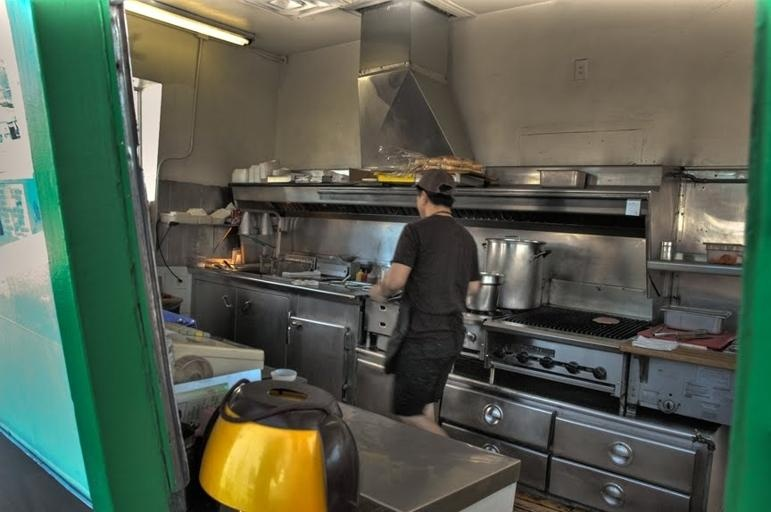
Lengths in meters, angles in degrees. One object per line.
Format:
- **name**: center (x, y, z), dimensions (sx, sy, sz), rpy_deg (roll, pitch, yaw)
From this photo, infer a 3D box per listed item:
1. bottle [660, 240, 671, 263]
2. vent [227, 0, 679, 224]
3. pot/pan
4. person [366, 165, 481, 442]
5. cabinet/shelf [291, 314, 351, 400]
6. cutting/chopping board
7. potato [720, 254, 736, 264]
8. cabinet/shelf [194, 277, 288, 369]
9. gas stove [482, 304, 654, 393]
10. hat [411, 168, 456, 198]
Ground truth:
- **bottle**: center (1.598, -0.033, 2.975), dimensions (0.063, 0.089, 0.158), rpy_deg (6, 6, 27)
- **vent**: center (0.359, -1.255, 4.290), dimensions (0.821, 1.398, 3.356), rpy_deg (-2, 7, -43)
- **pot/pan**: center (0.716, 0.134, 3.533), dimensions (0.475, 0.551, 0.723), rpy_deg (6, -1, -34)
- **person**: center (0.226, 0.221, 2.909), dimensions (0.561, 1.386, 0.307), rpy_deg (4, 6, 8)
- **cabinet/shelf**: center (-0.461, 0.728, 3.956), dimensions (0.590, 0.536, 0.335), rpy_deg (6, 6, 32)
- **cutting/chopping board**: center (1.532, 0.456, 2.713), dimensions (0.471, 0.106, 0.506), rpy_deg (6, 6, 35)
- **potato**: center (1.791, 0.018, 2.732), dimensions (0.059, 0.034, 0.060), rpy_deg (4, 13, 35)
- **cabinet/shelf**: center (-0.921, 0.419, 3.543), dimensions (0.685, 0.600, 0.266), rpy_deg (8, 4, 34)
- **gas stove**: center (1.112, 0.468, 3.027), dimensions (0.560, 0.228, 0.633), rpy_deg (6, 8, 44)
- **hat**: center (0.281, -0.394, 2.824), dimensions (0.139, 0.095, 0.179), rpy_deg (-3, 16, -28)
